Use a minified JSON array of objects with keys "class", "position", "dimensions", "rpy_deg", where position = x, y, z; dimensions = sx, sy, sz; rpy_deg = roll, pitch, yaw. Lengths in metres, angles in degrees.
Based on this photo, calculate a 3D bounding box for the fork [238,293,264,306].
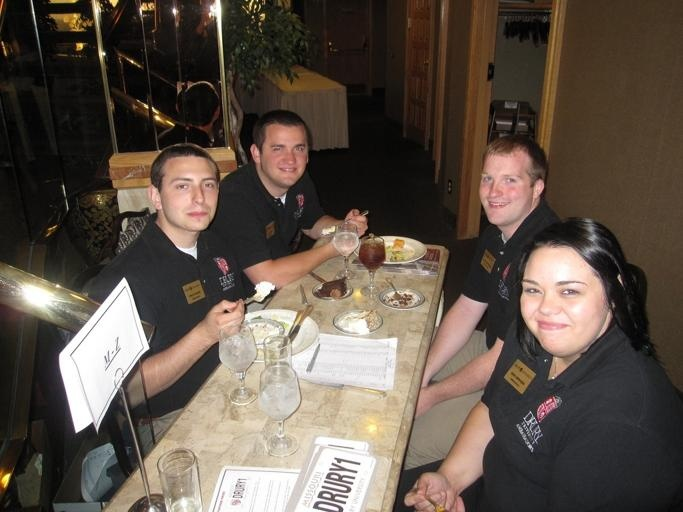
[{"class":"fork","position":[-0.412,0.188,2.215],"dimensions":[0.063,0.054,0.269],"rpy_deg":[-17,-5,-24]}]

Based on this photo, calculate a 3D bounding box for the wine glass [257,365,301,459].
[{"class":"wine glass","position":[-0.201,0.487,1.603],"dimensions":[0.128,0.256,0.191],"rpy_deg":[-5,23,-9]}]

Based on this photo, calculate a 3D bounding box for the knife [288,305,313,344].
[{"class":"knife","position":[-0.173,0.274,2.080],"dimensions":[0.048,0.057,0.212],"rpy_deg":[-8,36,29]}]

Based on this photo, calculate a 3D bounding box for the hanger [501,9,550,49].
[{"class":"hanger","position":[2.713,-3.353,7.256],"dimensions":[0.655,0.431,1.492],"rpy_deg":[5,24,14]}]

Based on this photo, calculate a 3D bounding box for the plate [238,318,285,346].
[{"class":"plate","position":[-0.322,0.307,2.038],"dimensions":[0.115,0.038,0.120],"rpy_deg":[-2,27,-11]}]

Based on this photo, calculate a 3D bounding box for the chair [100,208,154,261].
[{"class":"chair","position":[-1.199,-0.127,2.717],"dimensions":[0.174,0.290,0.193],"rpy_deg":[-31,44,-18]}]

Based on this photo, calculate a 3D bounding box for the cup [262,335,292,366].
[{"class":"cup","position":[-0.229,0.341,1.715],"dimensions":[0.097,0.118,0.102],"rpy_deg":[2,29,-1]}]

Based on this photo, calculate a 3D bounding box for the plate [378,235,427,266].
[{"class":"plate","position":[0.365,-0.034,2.787],"dimensions":[0.183,0.027,0.192],"rpy_deg":[-2,30,-3]}]
